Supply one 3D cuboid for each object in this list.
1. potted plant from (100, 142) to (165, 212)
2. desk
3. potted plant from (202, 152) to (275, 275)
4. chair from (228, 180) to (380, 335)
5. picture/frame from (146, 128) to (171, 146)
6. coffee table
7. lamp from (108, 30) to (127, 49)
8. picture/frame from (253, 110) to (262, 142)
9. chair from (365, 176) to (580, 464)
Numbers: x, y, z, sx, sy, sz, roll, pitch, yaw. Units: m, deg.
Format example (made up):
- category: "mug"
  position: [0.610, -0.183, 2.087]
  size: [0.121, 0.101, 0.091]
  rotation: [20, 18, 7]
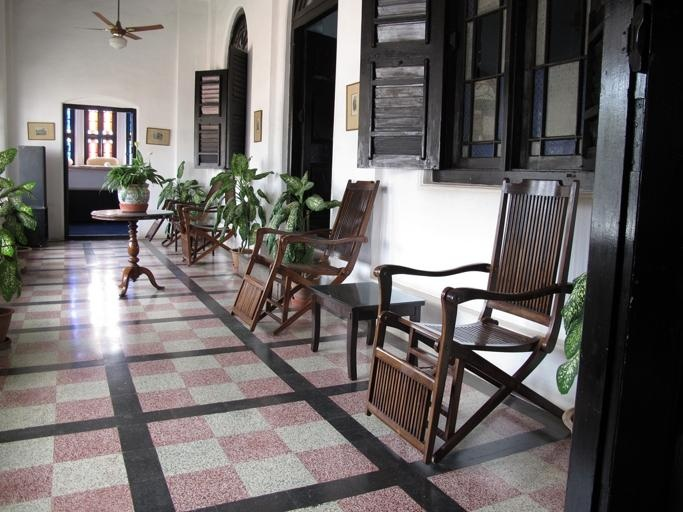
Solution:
- category: "potted plant"
  position: [-2.492, -0.913, 5.587]
  size: [0.733, 0.696, 0.623]
  rotation: [-4, 10, -22]
- category: "desk"
  position: [-2.483, -0.072, 5.526]
  size: [0.918, 0.935, 0.911]
  rotation: [-1, 3, 27]
- category: "potted plant"
  position: [-1.608, -0.550, 6.752]
  size: [0.891, 1.532, 1.068]
  rotation: [8, 8, -6]
- category: "chair"
  position: [-0.456, 0.149, 4.421]
  size: [0.874, 0.816, 0.636]
  rotation: [12, 9, -4]
- category: "picture/frame"
  position: [-3.770, -2.437, 9.427]
  size: [0.425, 0.315, 0.030]
  rotation: [1, 9, -37]
- category: "coffee table"
  position: [0.170, 0.539, 3.542]
  size: [0.669, 0.534, 0.712]
  rotation: [-4, 11, -37]
- category: "lamp"
  position: [-3.441, -3.357, 7.155]
  size: [0.223, 0.231, 0.424]
  rotation: [-4, 13, -21]
- category: "picture/frame"
  position: [-1.294, -2.012, 7.170]
  size: [0.055, 0.499, 0.520]
  rotation: [-4, 13, -21]
- category: "chair"
  position: [0.720, 0.290, 2.565]
  size: [0.999, 1.410, 0.746]
  rotation: [-6, 13, -26]
